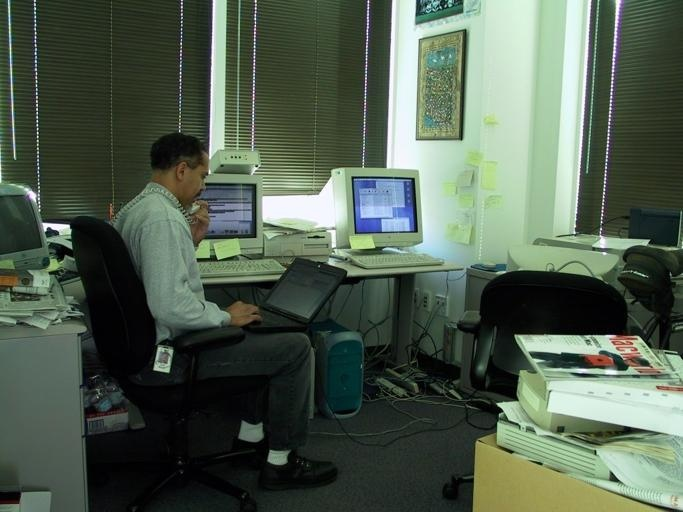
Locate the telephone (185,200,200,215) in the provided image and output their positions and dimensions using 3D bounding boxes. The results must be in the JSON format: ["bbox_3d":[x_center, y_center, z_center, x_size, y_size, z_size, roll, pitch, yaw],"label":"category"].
[{"bbox_3d":[-0.709,-0.235,2.859,0.063,0.069,0.170,-5,2,-28],"label":"telephone"}]

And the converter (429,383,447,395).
[{"bbox_3d":[0.599,0.809,3.612,0.057,0.017,0.078,1,12,-25],"label":"converter"}]

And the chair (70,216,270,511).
[{"bbox_3d":[-0.771,0.361,3.137,1.153,1.659,1.103,-1,6,-23],"label":"chair"}]

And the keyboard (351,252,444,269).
[{"bbox_3d":[0.331,0.023,3.516,0.543,0.057,0.235,-5,15,-24],"label":"keyboard"}]

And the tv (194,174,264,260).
[{"bbox_3d":[-0.630,-0.227,3.261,0.525,0.546,0.305,-1,1,-19],"label":"tv"}]

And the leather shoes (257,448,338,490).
[{"bbox_3d":[-0.193,0.977,2.730,0.383,0.159,0.138,-1,5,-14],"label":"leather shoes"}]

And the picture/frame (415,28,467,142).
[{"bbox_3d":[0.646,-1.095,3.827,0.109,0.671,0.418,-8,17,-31],"label":"picture/frame"}]

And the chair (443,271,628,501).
[{"bbox_3d":[0.781,0.384,2.404,0.648,0.759,0.559,4,11,14],"label":"chair"}]

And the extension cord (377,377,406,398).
[{"bbox_3d":[0.303,0.804,3.646,0.089,0.037,0.274,-9,16,-36],"label":"extension cord"}]
